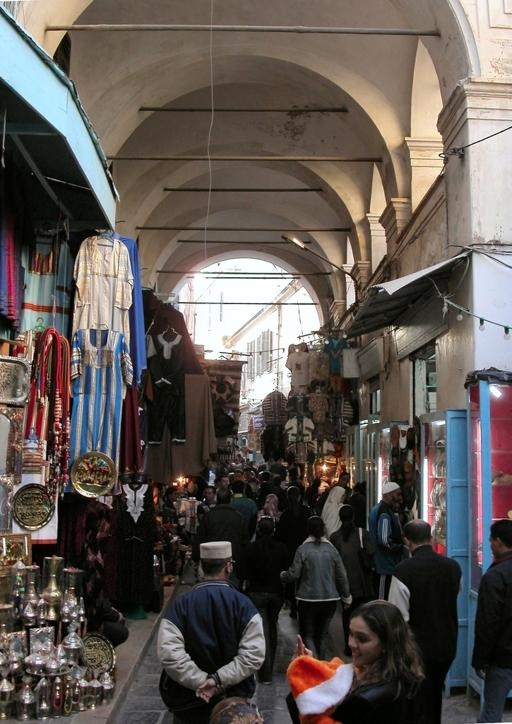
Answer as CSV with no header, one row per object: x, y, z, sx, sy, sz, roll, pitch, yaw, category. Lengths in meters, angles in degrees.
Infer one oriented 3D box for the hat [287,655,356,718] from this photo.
0.173,0.862,1.773,0.165,0.152,0.261,0,-8,-4,hat

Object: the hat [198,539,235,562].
-0.172,0.818,2.903,0.128,0.081,0.229,0,-8,-6,hat
